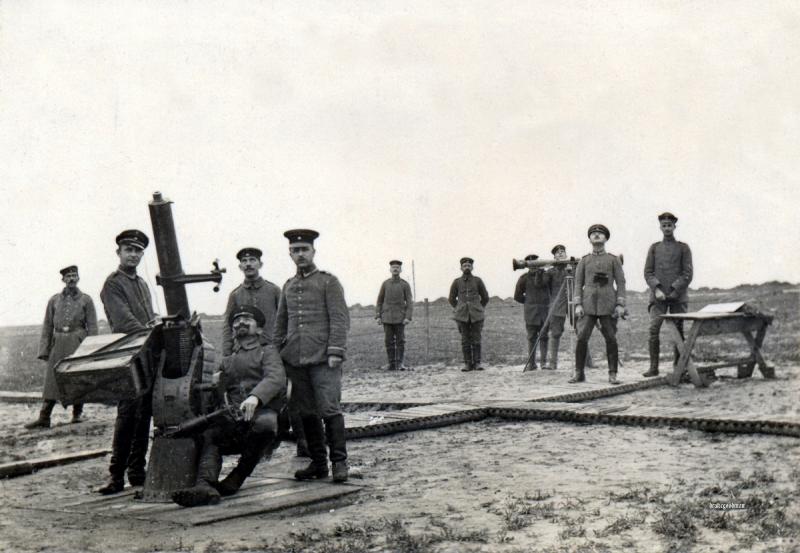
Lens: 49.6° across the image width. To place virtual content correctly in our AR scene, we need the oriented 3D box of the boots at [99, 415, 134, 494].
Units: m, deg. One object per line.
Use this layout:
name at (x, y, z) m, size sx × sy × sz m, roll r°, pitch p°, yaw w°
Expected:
boots at (-3.141, 1.966, 9.572) m, size 0.363 × 0.840 × 0.195 m, roll 0°, pitch -5°, yaw -23°

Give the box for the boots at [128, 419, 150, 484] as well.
boots at (-3.018, 2.006, 9.948) m, size 0.189 × 0.735 × 0.149 m, roll 2°, pitch -22°, yaw -9°

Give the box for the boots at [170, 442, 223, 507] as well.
boots at (-2.028, 2.045, 8.902) m, size 0.398 × 0.520 × 0.699 m, roll 0°, pitch 2°, yaw -5°

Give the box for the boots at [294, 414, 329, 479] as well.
boots at (-1.028, 1.963, 9.929) m, size 0.392 × 0.681 × 0.256 m, roll 0°, pitch -1°, yaw -10°

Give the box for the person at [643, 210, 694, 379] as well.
person at (4.612, 0.280, 14.921) m, size 0.717 × 2.694 × 0.689 m, roll -1°, pitch 1°, yaw 9°

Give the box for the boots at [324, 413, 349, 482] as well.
boots at (-0.723, 1.915, 9.748) m, size 0.258 × 0.735 × 0.498 m, roll -1°, pitch -5°, yaw -6°

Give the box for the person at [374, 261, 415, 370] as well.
person at (-0.163, 0.867, 19.620) m, size 0.768 × 2.411 × 0.548 m, roll 0°, pitch -3°, yaw 8°

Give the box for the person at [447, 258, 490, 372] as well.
person at (1.449, 0.794, 18.769) m, size 0.876 × 3.233 × 0.846 m, roll 3°, pitch 1°, yaw 1°

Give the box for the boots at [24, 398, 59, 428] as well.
boots at (-5.784, 2.193, 13.831) m, size 0.425 × 0.446 × 0.554 m, roll 0°, pitch -5°, yaw -23°
